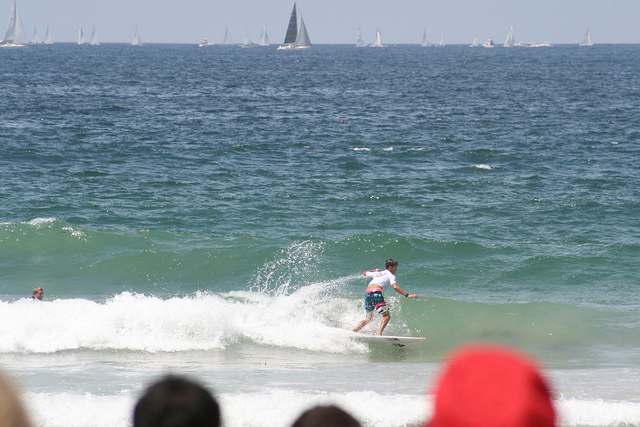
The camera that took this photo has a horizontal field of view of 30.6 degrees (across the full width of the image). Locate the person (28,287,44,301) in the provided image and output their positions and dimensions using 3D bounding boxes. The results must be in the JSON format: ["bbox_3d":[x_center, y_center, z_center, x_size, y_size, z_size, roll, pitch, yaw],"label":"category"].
[{"bbox_3d":[-14.992,4.203,62.486,0.744,0.817,0.638,-1,6,-39],"label":"person"}]

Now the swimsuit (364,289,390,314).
[{"bbox_3d":[2.925,4.647,61.827,1.525,1.268,0.818,-8,-4,42],"label":"swimsuit"}]
